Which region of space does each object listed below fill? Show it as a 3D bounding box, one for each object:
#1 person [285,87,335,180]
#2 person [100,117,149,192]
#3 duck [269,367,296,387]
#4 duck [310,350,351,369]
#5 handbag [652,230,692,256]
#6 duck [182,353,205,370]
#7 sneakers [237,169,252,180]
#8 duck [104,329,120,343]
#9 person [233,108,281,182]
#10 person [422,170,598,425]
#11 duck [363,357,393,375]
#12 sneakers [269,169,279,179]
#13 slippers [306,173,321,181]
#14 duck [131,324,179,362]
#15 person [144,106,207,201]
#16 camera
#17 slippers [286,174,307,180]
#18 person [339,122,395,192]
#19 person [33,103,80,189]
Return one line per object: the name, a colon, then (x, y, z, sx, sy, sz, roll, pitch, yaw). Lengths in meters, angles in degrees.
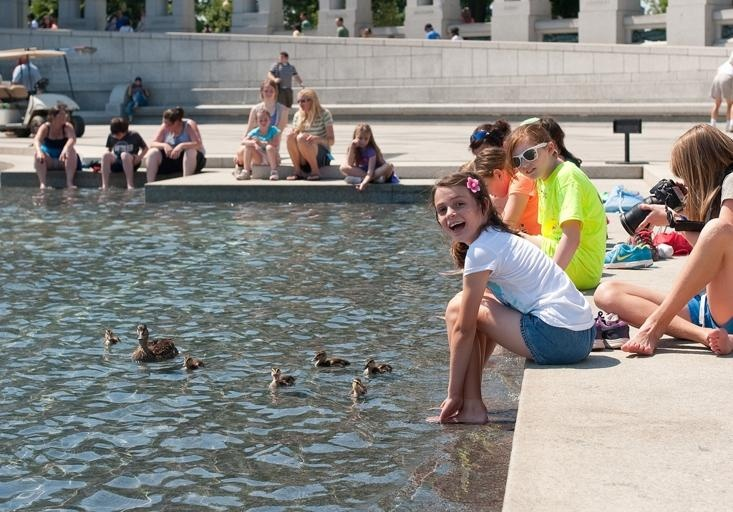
person: (-0.804, -1.747, 17.828, 0.633, 1.295, 0.633, 0, 9, -2)
person: (-3.706, -1.561, 18.861, 0.711, 1.059, 0.751, 2, 9, 9)
duck: (-0.701, 1.028, 10.297, 0.124, 0.130, 0.199, 0, 6, 14)
duck: (-0.304, 0.902, 10.606, 0.249, 0.109, 0.151, 2, -4, -4)
handbag: (3.095, -0.132, 12.574, 0.438, 0.156, 0.321, 2, 1, -8)
duck: (-1.454, 0.912, 10.576, 0.173, 0.117, 0.224, 1, 9, 4)
sneakers: (-1.732, -1.142, 17.710, 0.105, 0.108, 0.295, 0, 0, 10)
duck: (-2.238, 0.717, 11.001, 0.106, 0.131, 0.134, -23, -11, -9)
person: (-1.530, -1.609, 17.894, 0.600, 0.984, 0.783, 0, 9, -4)
person: (1.116, 0.341, 9.669, 1.203, 1.950, 0.386, 1, 10, 2)
duck: (0.094, 0.962, 10.494, 0.215, 0.131, 0.122, 2, -5, -35)
sneakers: (-1.317, -1.163, 17.721, 0.168, 0.171, 0.448, -1, 2, -2)
slippers: (-0.749, -1.118, 17.743, 0.115, 0.114, 0.301, -1, -5, 2)
duck: (-1.833, 0.740, 10.767, 0.420, 0.334, 0.353, -3, 10, -23)
person: (-2.840, -1.656, 18.472, 0.870, 1.106, 0.697, -1, 9, -10)
camera: (2.684, -0.389, 11.465, 0.624, 0.299, 0.375, -37, 9, 12)
slippers: (-0.998, -1.119, 17.853, 0.104, 0.063, 0.263, 0, -1, 34)
person: (-0.015, -1.321, 17.030, 0.853, 0.911, 0.916, -4, 7, 10)
person: (-4.761, -1.689, 19.136, 0.705, 1.251, 0.801, -2, 9, -13)
